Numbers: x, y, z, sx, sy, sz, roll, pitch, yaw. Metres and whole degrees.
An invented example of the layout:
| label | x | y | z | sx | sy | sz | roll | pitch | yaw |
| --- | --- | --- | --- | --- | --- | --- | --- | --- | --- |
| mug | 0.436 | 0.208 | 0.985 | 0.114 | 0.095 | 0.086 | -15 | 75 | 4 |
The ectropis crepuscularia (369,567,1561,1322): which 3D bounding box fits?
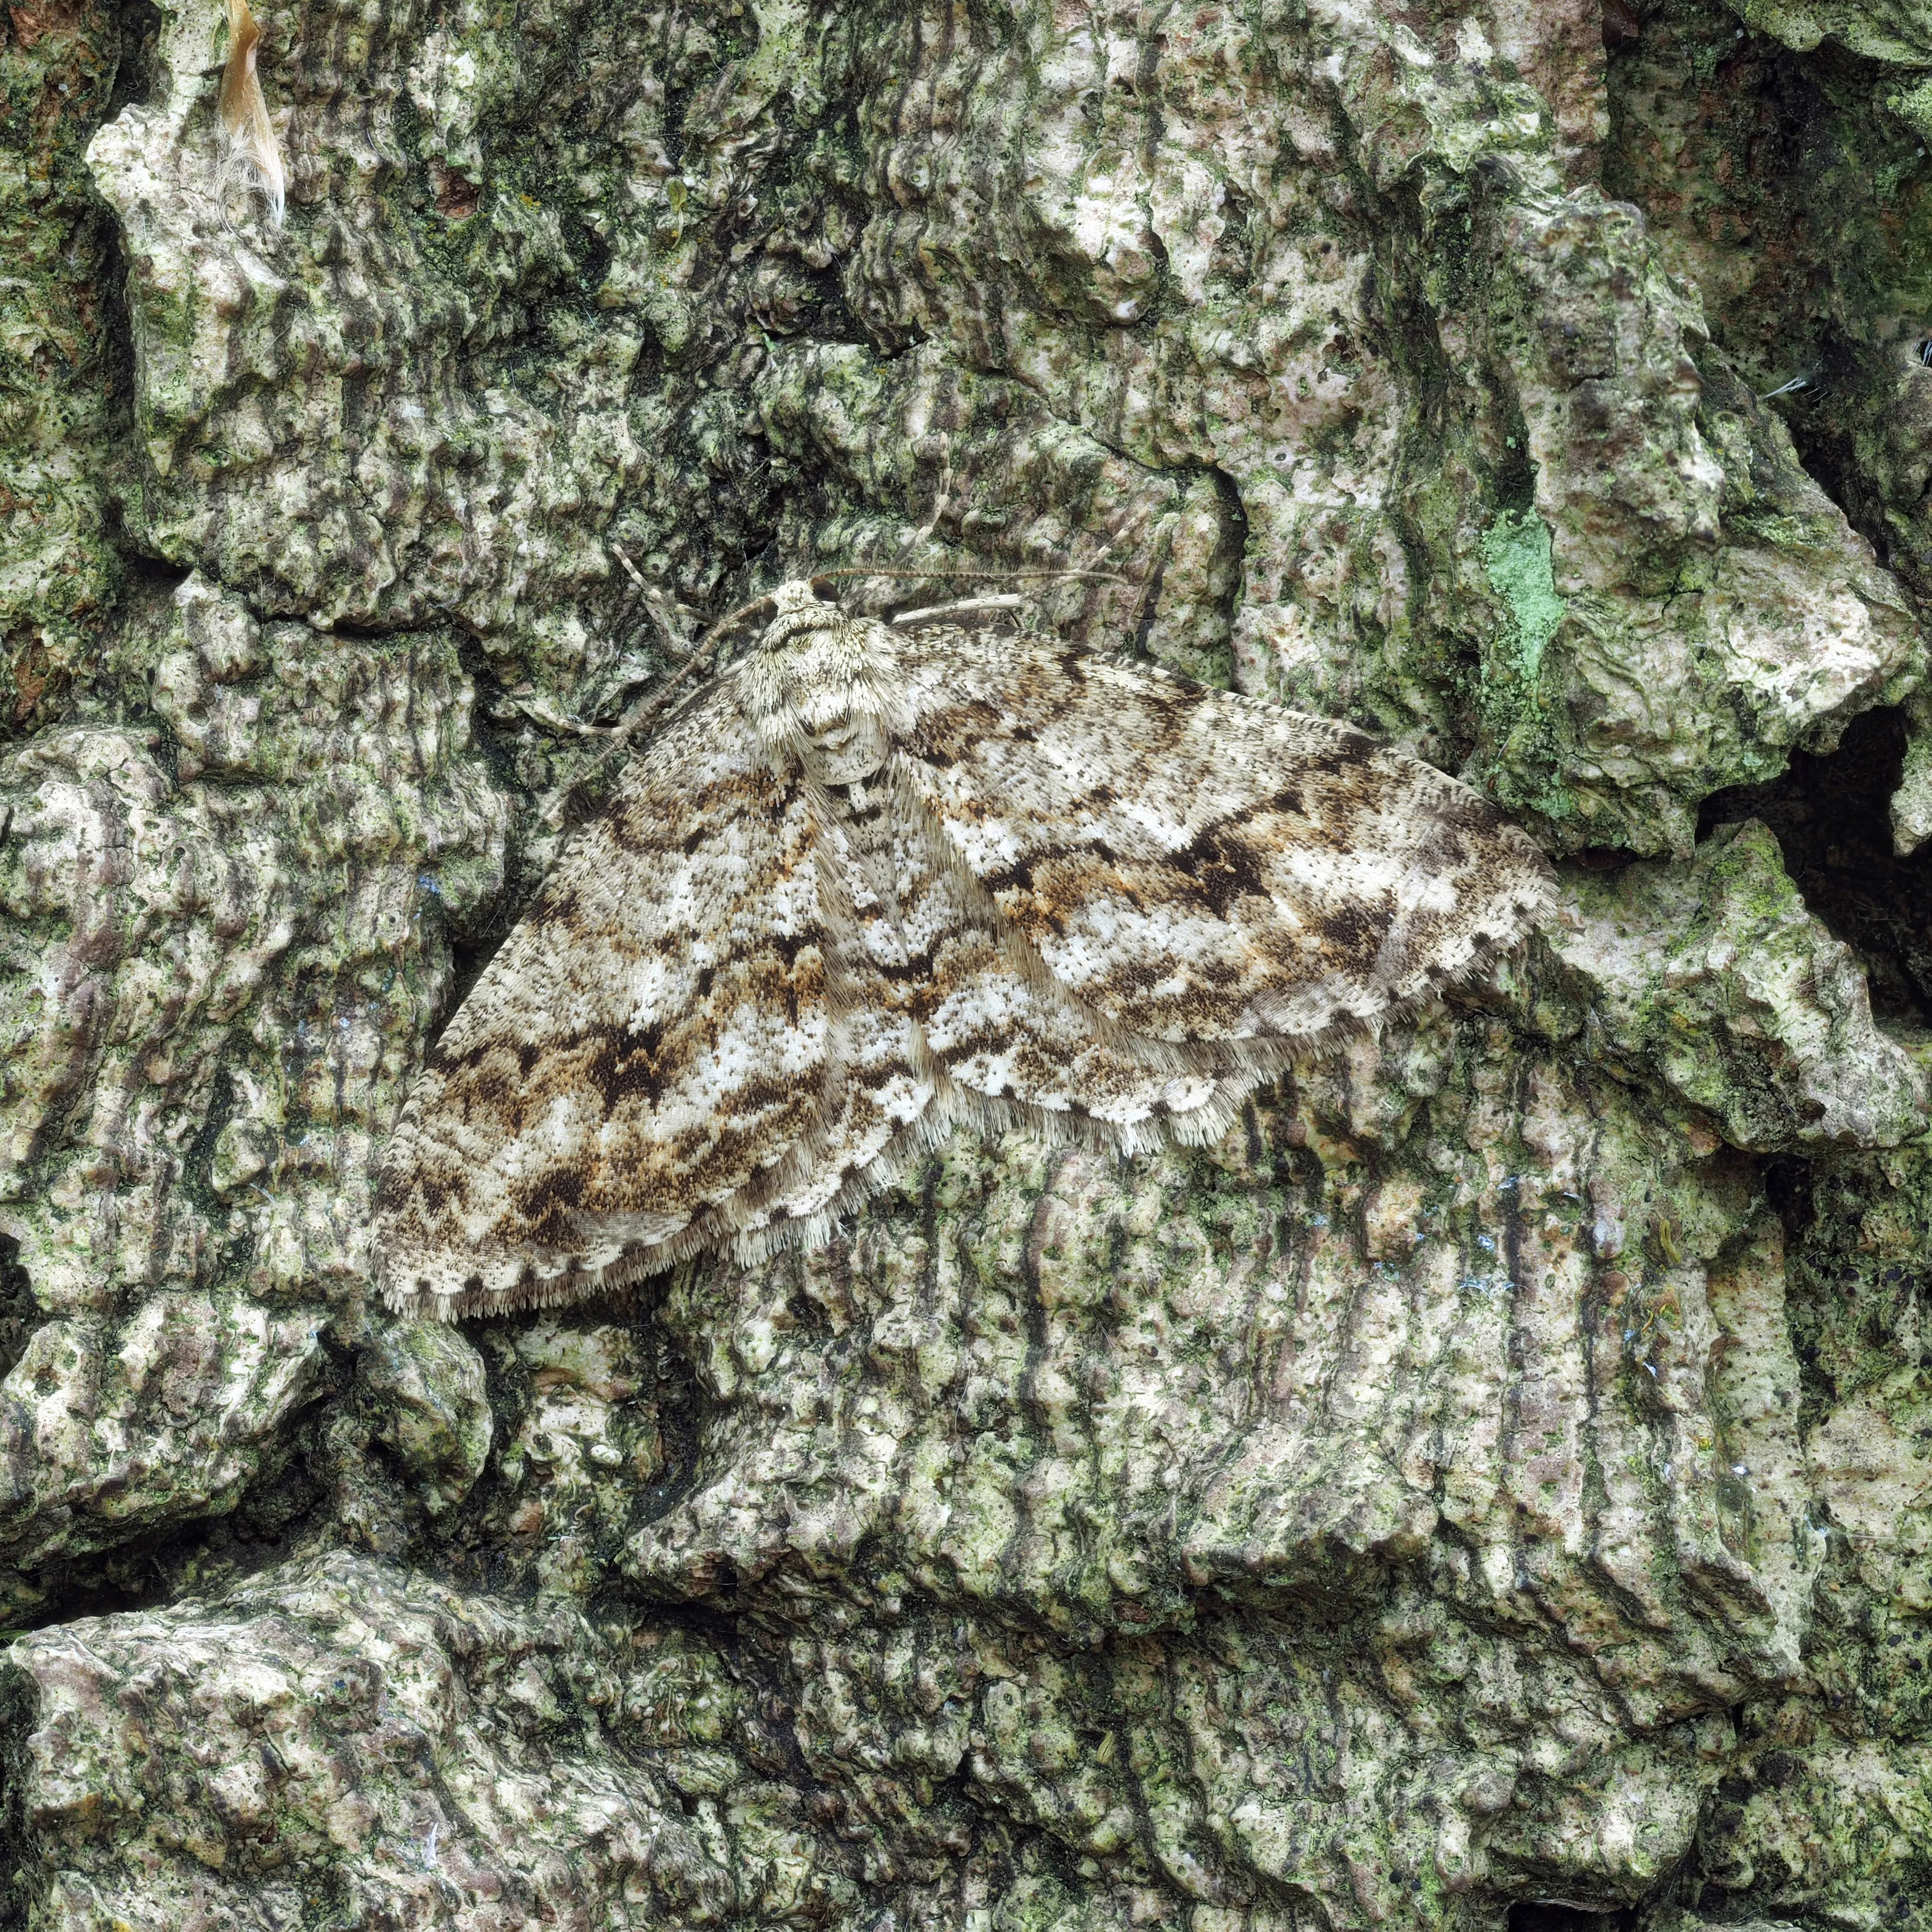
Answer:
| label | x | y | z | sx | sy | sz | roll | pitch | yaw |
| --- | --- | --- | --- | --- | --- | --- | --- | --- | --- |
| ectropis crepuscularia | -0.057 | -0.098 | 8.212 | 1.607 | 0.661 | 0.828 | -5 | 66 | -9 |
